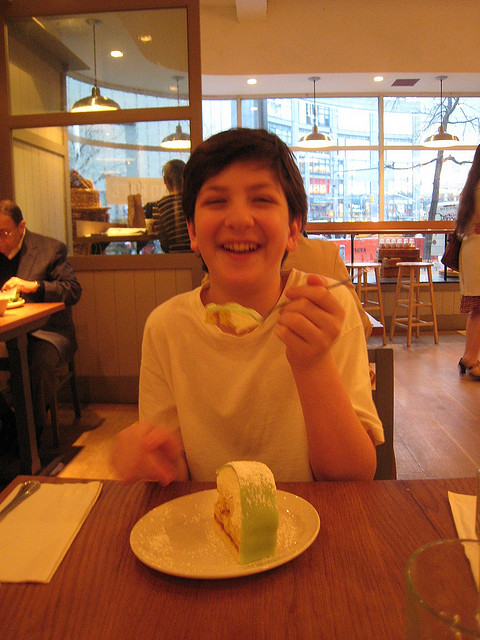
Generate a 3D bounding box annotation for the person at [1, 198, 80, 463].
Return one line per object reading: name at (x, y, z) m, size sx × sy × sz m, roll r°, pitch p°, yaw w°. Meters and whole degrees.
person at (-1.274, 0.001, 2.998) m, size 0.494 × 1.507 × 0.927 m, roll -4°, pitch 7°, yaw -20°

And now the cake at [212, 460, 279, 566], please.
cake at (0.005, 0.237, 0.609) m, size 0.046 × 0.106 × 0.096 m, roll 3°, pitch 6°, yaw -26°

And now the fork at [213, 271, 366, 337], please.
fork at (0.077, -0.030, 0.880) m, size 0.231 × 0.048 × 0.050 m, roll -32°, pitch -5°, yaw 19°

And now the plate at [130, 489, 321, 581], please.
plate at (-0.018, 0.264, 0.594) m, size 0.231 × 0.030 × 0.207 m, roll -2°, pitch 7°, yaw -1°

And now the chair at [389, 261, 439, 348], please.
chair at (2.161, -0.271, 5.777) m, size 0.552 × 0.916 × 1.845 m, roll 1°, pitch 8°, yaw 23°
